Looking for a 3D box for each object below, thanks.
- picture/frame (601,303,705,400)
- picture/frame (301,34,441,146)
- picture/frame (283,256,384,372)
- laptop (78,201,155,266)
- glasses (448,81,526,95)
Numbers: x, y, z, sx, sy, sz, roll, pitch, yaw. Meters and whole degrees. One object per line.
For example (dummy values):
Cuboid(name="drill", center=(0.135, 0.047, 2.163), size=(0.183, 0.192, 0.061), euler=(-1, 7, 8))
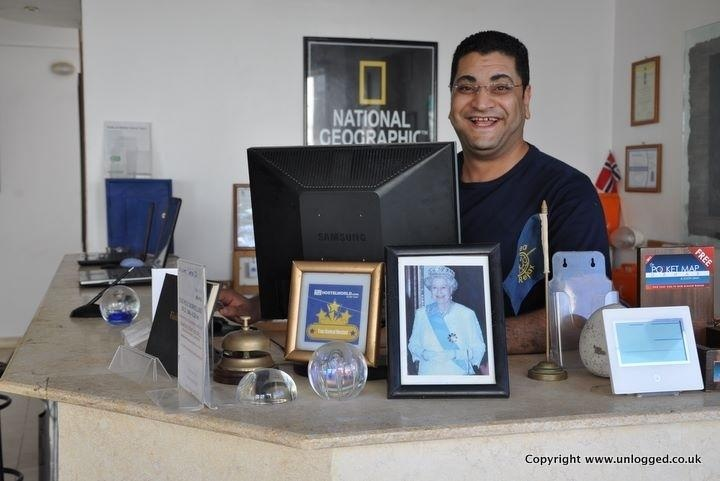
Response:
Cuboid(name="picture/frame", center=(0.893, 0.350, 1.880), size=(0.247, 0.235, 0.109), euler=(-3, 6, -4))
Cuboid(name="picture/frame", center=(0.096, -1.160, 4.956), size=(1.093, 0.832, 0.027), euler=(-4, 11, -12))
Cuboid(name="picture/frame", center=(-0.080, 0.236, 1.956), size=(0.372, 0.395, 0.031), euler=(2, -12, 8))
Cuboid(name="laptop", center=(-1.658, -0.008, 4.163), size=(0.500, 0.432, 0.476), euler=(3, 3, -13))
Cuboid(name="glasses", center=(0.553, -0.666, 2.710), size=(0.271, 0.055, 0.057), euler=(2, 6, 11))
